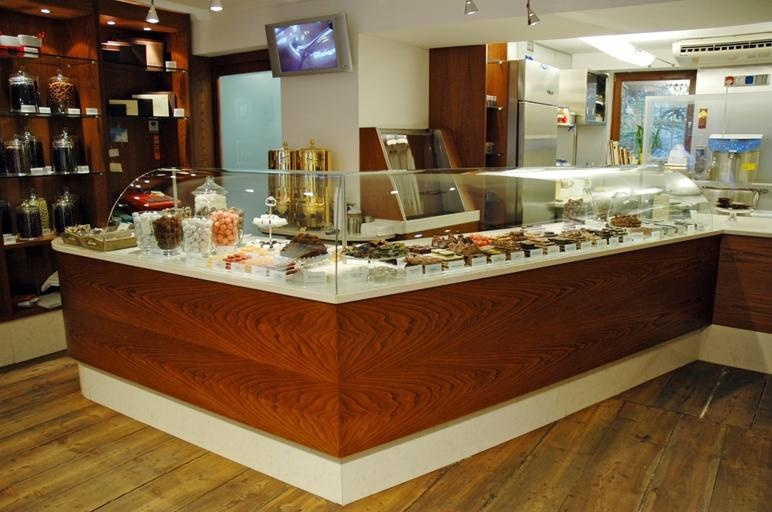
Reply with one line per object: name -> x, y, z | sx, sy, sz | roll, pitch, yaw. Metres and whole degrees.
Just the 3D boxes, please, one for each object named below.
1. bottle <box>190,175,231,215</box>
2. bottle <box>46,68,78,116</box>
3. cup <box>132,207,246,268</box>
bottle -> -1.190, -0.420, 3.402 | 0.295, 0.225, 0.261 | -3, 7, -22
bottle -> -3.037, -1.576, 4.814 | 0.234, 0.378, 0.157 | -12, 15, -29
cup -> -1.291, -0.151, 3.379 | 0.664, 0.223, 0.403 | 5, 11, 27
